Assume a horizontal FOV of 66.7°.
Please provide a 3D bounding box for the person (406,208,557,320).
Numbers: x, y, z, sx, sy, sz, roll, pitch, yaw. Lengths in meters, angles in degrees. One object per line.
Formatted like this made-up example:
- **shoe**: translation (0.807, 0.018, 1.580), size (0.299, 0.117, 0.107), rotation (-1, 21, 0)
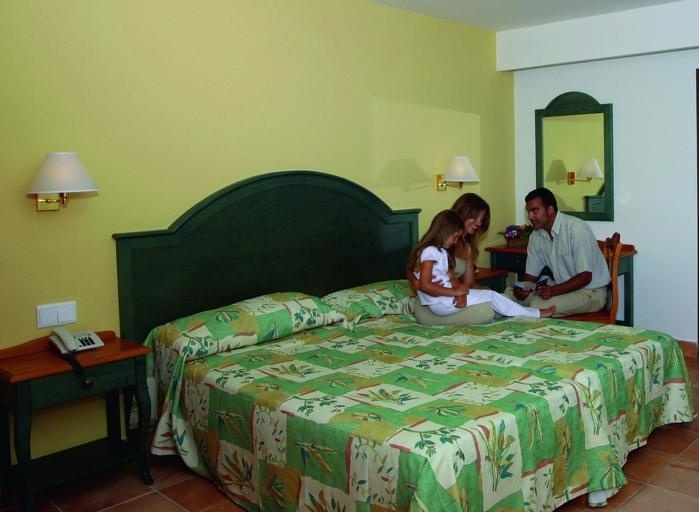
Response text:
- **person**: translation (1.045, 0.096, 4.131), size (1.187, 0.803, 0.538), rotation (5, 9, 5)

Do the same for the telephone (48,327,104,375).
- **telephone**: translation (-1.582, 0.513, 3.088), size (0.295, 0.092, 0.420), rotation (3, 19, -31)

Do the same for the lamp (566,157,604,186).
- **lamp**: translation (2.426, -0.867, 5.499), size (0.203, 0.186, 0.281), rotation (-1, -2, -29)

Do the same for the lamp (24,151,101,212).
- **lamp**: translation (-1.682, -0.441, 3.147), size (0.396, 0.298, 0.383), rotation (-4, 7, -43)

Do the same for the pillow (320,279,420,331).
- **pillow**: translation (0.190, 0.380, 4.264), size (0.568, 0.117, 0.354), rotation (-5, 14, -39)

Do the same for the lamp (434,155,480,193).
- **lamp**: translation (1.070, -0.795, 5.311), size (0.397, 0.317, 0.393), rotation (-4, 6, -37)

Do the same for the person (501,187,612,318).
- **person**: translation (1.874, -0.027, 4.872), size (0.943, 1.117, 0.873), rotation (-3, 6, 19)
